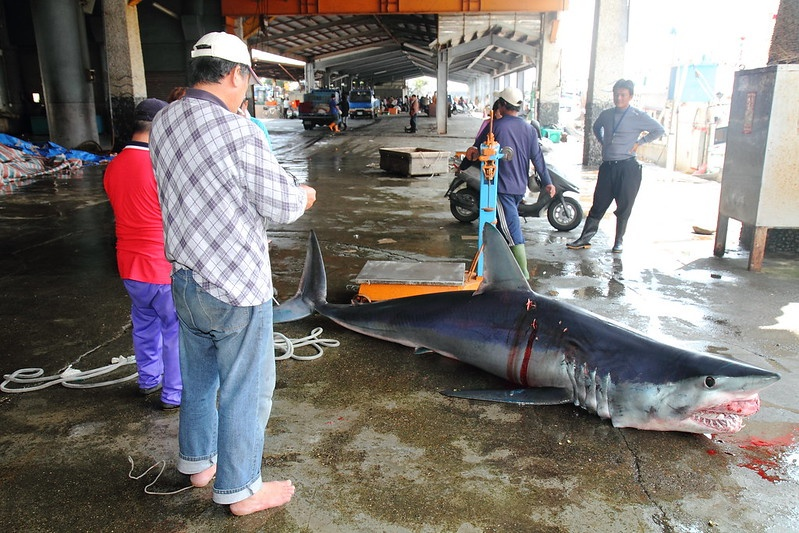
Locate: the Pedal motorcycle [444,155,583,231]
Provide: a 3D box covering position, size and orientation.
[{"bbox_3d":[2.044,-1.218,9.147,2.599,1.422,1.034,2,24,10],"label":"Pedal motorcycle"}]

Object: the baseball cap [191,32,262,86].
[{"bbox_3d":[-1.004,-1.235,3.350,0.258,0.200,0.369,25,25,37],"label":"baseball cap"}]

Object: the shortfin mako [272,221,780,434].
[{"bbox_3d":[0.833,0.387,4.598,3.883,1.224,1.252,13,13,19],"label":"shortfin mako"}]

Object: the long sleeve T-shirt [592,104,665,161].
[{"bbox_3d":[3.017,-1.834,7.581,0.987,0.684,0.425,11,20,34],"label":"long sleeve T-shirt"}]

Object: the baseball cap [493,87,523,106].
[{"bbox_3d":[1.234,-1.909,6.309,0.305,0.210,0.369,4,18,7],"label":"baseball cap"}]

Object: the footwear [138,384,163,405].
[{"bbox_3d":[-1.938,1.032,4.492,0.280,0.109,0.092,1,9,-19],"label":"footwear"}]

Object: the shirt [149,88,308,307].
[{"bbox_3d":[-1.093,-0.482,3.605,1.172,1.306,0.783,19,29,11],"label":"shirt"}]

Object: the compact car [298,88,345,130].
[{"bbox_3d":[-4.147,-8.277,29.288,1.539,1.330,2.688,3,25,7],"label":"compact car"}]

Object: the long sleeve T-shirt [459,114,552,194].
[{"bbox_3d":[1.270,-1.300,6.516,0.671,0.712,1.150,6,7,24],"label":"long sleeve T-shirt"}]
